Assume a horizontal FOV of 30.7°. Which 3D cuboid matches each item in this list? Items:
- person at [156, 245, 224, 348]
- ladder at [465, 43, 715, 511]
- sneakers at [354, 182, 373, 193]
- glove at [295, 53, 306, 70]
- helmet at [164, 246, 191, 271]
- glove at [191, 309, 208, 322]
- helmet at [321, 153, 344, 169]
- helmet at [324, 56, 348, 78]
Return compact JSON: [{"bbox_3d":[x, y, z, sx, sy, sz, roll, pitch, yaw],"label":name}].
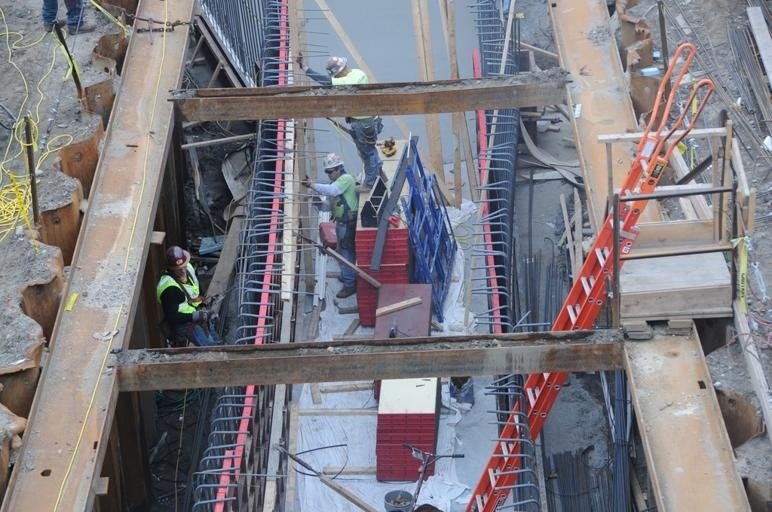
[{"bbox_3d":[-3.573,0.815,25.511,0.723,1.790,0.693,-8,63,8],"label":"person"},{"bbox_3d":[3.559,0.529,24.053,1.041,1.126,9.555,22,76,33],"label":"ladder"},{"bbox_3d":[-0.462,-1.333,27.838,0.296,0.084,0.194,3,38,6],"label":"sneakers"},{"bbox_3d":[-1.702,-3.889,28.109,0.120,0.375,0.153,-15,12,-28],"label":"glove"},{"bbox_3d":[-3.609,0.056,24.514,0.401,0.208,0.364,-23,64,3],"label":"helmet"},{"bbox_3d":[-3.260,1.056,24.712,0.242,0.222,0.170,-1,81,6],"label":"glove"},{"bbox_3d":[-1.018,-1.801,27.160,0.354,0.343,0.277,-3,48,-1],"label":"helmet"},{"bbox_3d":[-0.946,-3.679,27.352,0.339,0.435,0.408,33,56,28],"label":"helmet"}]
